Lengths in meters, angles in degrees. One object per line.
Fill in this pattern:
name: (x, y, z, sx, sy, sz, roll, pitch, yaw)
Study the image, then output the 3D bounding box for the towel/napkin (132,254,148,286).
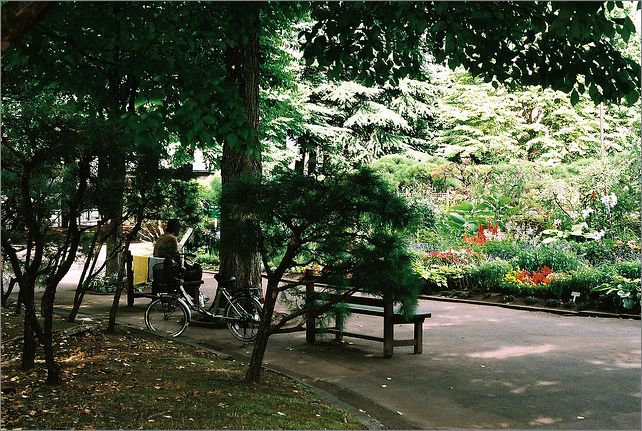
towel/napkin: (-5.762, 1.724, 18.057, 0.951, 0.958, 0.269, 3, 0, 39)

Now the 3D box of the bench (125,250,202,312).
bench: (-3.939, 1.651, 14.054, 0.631, 0.891, 1.725, -7, 6, -43)

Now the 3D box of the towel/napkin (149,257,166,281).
towel/napkin: (-3.951, 1.272, 13.747, 0.524, 0.574, 0.875, 0, 1, -12)

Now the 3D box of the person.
person: (-3.386, 1.213, 13.529, 1.341, 2.096, 0.942, 17, -25, -42)

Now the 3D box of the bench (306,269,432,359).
bench: (0.904, 2.053, 12.041, 1.252, 1.599, 2.952, 7, -8, -34)
